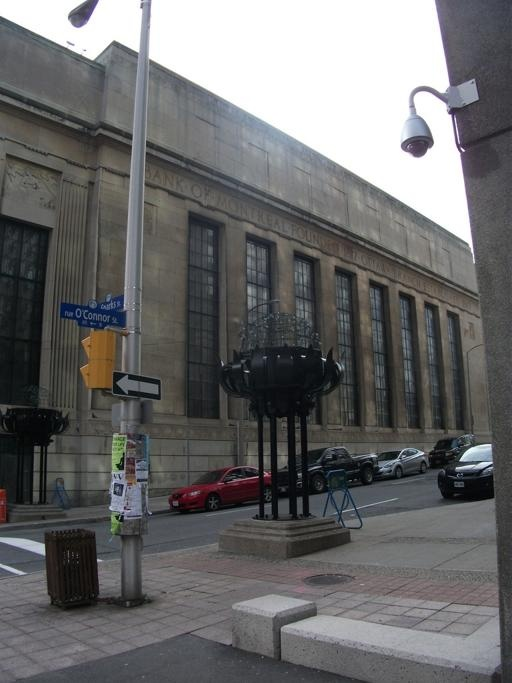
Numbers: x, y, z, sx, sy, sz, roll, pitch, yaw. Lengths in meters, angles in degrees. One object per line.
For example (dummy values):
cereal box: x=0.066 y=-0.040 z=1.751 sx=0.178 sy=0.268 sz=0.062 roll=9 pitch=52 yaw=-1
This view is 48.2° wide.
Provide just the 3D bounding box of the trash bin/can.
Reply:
trash bin/can: x=-2.243 y=2.752 z=6.936 sx=0.627 sy=0.898 sz=0.465 roll=1 pitch=-10 yaw=-19

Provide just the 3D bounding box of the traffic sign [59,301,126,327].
traffic sign: x=-2.066 y=-0.326 z=7.267 sx=0.775 sy=0.349 sz=0.370 roll=0 pitch=-10 yaw=-15

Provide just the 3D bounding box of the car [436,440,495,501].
car: x=6.256 y=3.900 z=16.963 sx=1.463 sy=1.577 sz=1.958 roll=-6 pitch=-10 yaw=20

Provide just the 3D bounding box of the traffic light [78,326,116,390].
traffic light: x=-2.008 y=0.214 z=7.260 sx=0.413 sy=0.847 sz=0.735 roll=1 pitch=-10 yaw=-16

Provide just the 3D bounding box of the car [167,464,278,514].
car: x=-1.310 y=5.292 z=20.501 sx=3.526 sy=1.415 sz=1.214 roll=6 pitch=-12 yaw=-40
